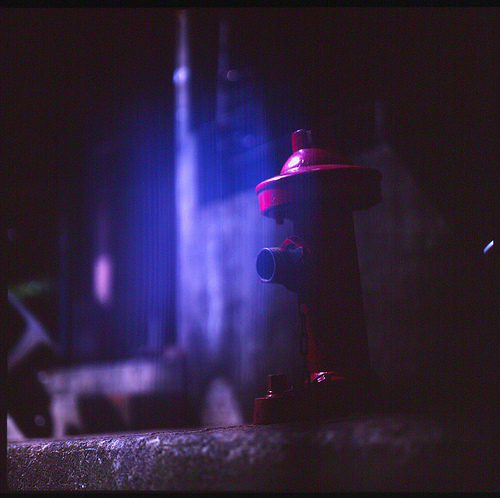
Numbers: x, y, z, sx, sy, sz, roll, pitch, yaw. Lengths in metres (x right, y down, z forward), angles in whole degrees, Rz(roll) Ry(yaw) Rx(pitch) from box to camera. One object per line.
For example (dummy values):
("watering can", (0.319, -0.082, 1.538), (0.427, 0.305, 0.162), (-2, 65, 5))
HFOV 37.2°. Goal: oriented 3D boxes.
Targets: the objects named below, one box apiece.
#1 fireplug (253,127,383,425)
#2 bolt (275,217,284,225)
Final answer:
("fireplug", (0.360, 0.178, 3.979), (0.664, 1.275, 1.031), (1, 31, 10))
("bolt", (0.168, -0.158, 4.164), (0.033, 0.048, 0.036), (1, -5, 1))
